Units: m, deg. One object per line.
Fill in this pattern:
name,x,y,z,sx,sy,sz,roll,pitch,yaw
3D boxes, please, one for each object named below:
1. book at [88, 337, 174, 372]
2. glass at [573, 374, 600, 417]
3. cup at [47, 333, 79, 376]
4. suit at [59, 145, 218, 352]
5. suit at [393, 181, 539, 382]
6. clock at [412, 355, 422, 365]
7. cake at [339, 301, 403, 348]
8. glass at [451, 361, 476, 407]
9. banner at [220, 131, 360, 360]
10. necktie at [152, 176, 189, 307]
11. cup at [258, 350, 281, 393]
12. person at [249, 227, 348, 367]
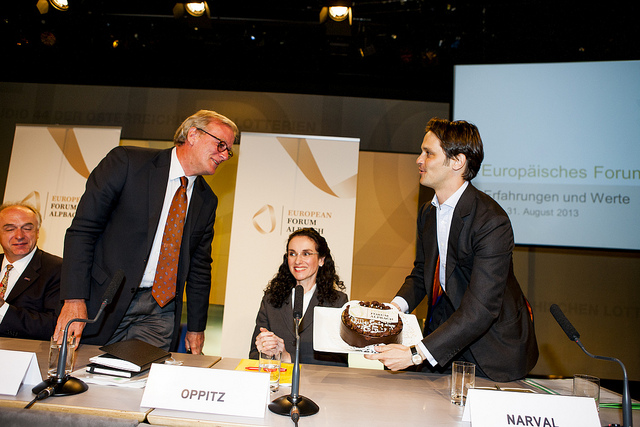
book,-1.363,1.031,3.444,0.469,0.128,0.469,17,3,5
glass,1.838,1.226,3.185,0.204,0.246,0.217,8,-12,-37
cup,-1.803,1.014,3.228,0.181,0.304,0.178,-1,-6,0
suit,-1.573,0.340,4.197,1.244,1.803,0.653,17,-4,-30
suit,1.175,0.548,3.689,1.031,1.244,0.771,3,-1,26
clock,0.715,1.063,3.422,0.079,0.058,0.028,4,-1,-23
cake,0.417,0.855,3.699,0.480,0.169,0.499,-3,23,-16
glass,0.985,1.171,3.263,0.186,0.250,0.143,2,-1,39
banner,-0.475,0.353,6.986,1.800,3.054,1.249,1,1,-4
necktie,-1.295,0.211,4.016,0.229,1.046,0.229,-1,0,-6
cup,-0.359,1.102,3.332,0.150,0.277,0.185,3,-1,-8
person,-0.204,0.816,4.506,0.795,1.206,0.420,6,-28,-2
